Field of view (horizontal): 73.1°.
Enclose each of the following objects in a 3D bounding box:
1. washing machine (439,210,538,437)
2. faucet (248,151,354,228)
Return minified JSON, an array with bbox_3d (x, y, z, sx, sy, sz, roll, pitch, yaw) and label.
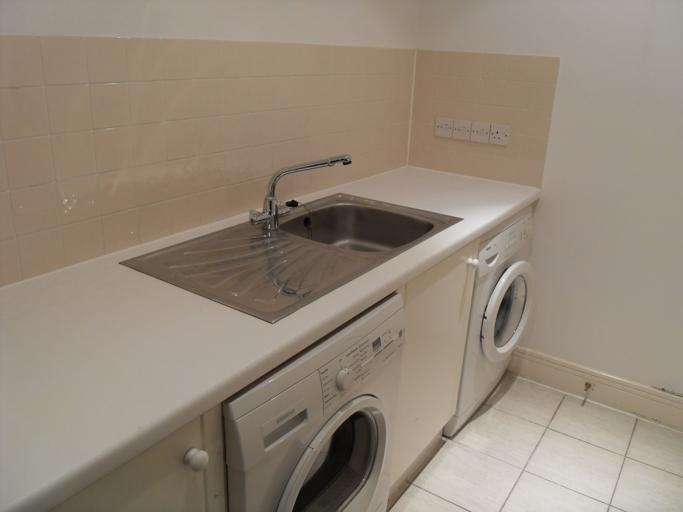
[{"bbox_3d":[0.675,0.259,2.425,0.497,1.102,0.603,20,35,38],"label":"washing machine"},{"bbox_3d":[-0.162,-0.253,1.783,0.392,0.255,0.092,-13,37,-20],"label":"faucet"}]
